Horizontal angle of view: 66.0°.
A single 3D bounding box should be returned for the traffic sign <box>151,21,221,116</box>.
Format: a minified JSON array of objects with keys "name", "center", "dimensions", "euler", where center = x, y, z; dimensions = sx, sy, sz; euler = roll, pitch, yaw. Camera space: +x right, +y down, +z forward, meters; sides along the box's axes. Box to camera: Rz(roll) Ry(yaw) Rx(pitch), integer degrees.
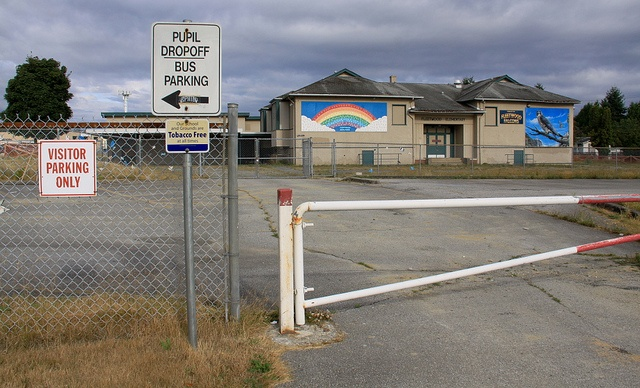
[{"name":"traffic sign","center":[-1.511,-1.402,5.556],"dimensions":[0.751,1.025,0.333],"euler":[-1,15,-6]}]
